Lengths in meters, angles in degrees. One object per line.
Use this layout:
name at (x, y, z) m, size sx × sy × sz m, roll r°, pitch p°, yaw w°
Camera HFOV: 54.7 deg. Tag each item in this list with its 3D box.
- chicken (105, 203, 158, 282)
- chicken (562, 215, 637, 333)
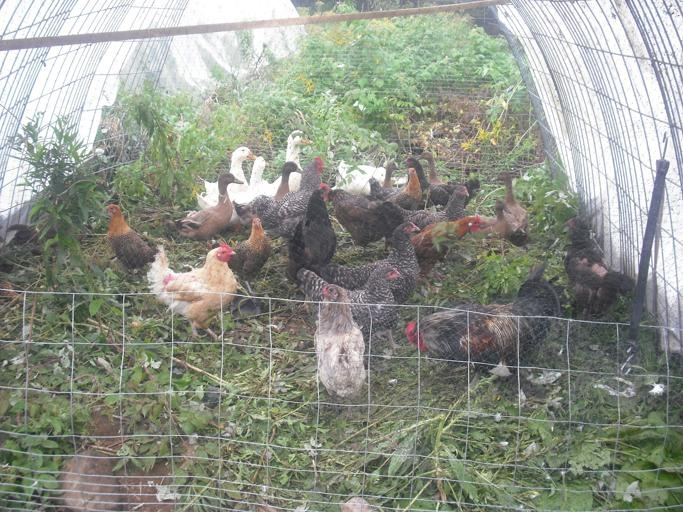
chicken at (-2.308, -0.109, 7.181) m, size 0.655 × 0.742 × 0.335 m, roll 16°, pitch 35°, yaw -4°
chicken at (2.658, 0.132, 7.028) m, size 0.599 × 1.038 × 0.431 m, roll -18°, pitch -6°, yaw 17°
